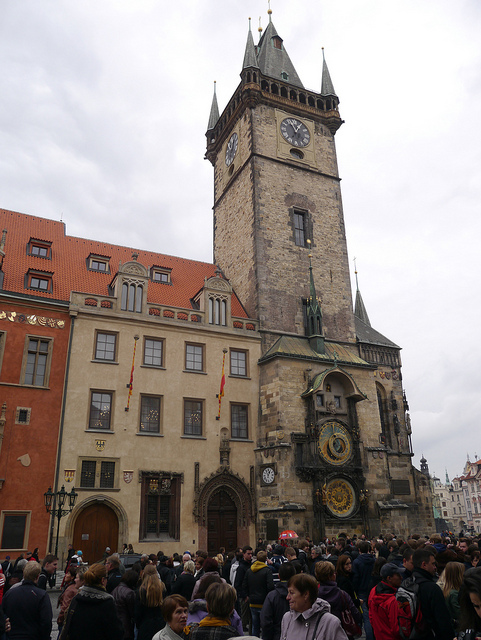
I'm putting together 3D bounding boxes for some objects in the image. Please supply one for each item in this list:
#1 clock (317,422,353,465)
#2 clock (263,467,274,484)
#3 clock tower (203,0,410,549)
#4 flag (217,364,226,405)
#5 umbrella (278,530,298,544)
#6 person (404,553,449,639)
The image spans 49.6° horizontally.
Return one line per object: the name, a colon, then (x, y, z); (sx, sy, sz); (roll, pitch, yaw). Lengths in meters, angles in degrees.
clock: (4.831, 6.537, 27.359); (0.236, 2.213, 2.294); (-32, -14, 39)
clock: (1.398, 7.822, 26.265); (0.045, 0.768, 0.785); (22, -31, -35)
clock tower: (3.085, -4.773, 32.588); (8.069, 34.299, 6.557); (-4, -21, 0)
flag: (-0.980, 3.359, 27.890); (0.547, 2.115, 0.371); (14, -27, -38)
umbrella: (2.113, 9.656, 23.482); (0.685, 0.285, 0.659); (-8, -41, 8)
person: (1.836, 2.746, 5.209); (0.356, 0.745, 0.412); (-9, -21, 13)
